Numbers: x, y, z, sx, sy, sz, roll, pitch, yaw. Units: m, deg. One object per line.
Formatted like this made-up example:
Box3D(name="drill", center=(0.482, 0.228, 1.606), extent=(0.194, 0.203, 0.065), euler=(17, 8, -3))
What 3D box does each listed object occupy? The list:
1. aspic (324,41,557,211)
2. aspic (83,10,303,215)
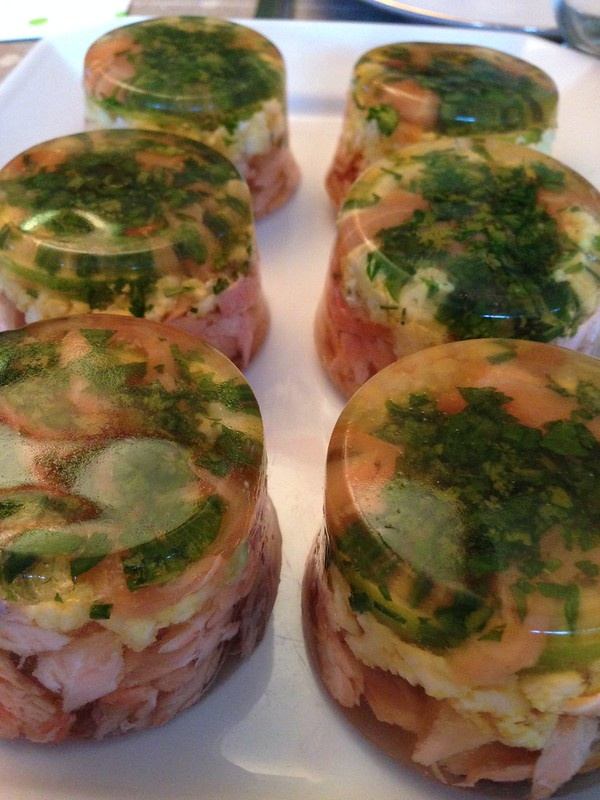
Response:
Box3D(name="aspic", center=(0.323, -0.516, 1.783), extent=(0.415, 0.233, 0.379), euler=(-20, 46, -35))
Box3D(name="aspic", center=(-0.199, -0.570, 1.756), extent=(0.372, 0.241, 0.336), euler=(-38, 68, -6))
